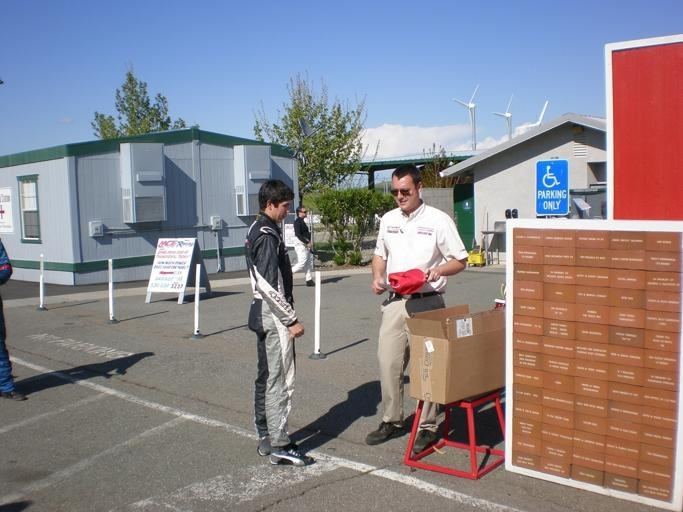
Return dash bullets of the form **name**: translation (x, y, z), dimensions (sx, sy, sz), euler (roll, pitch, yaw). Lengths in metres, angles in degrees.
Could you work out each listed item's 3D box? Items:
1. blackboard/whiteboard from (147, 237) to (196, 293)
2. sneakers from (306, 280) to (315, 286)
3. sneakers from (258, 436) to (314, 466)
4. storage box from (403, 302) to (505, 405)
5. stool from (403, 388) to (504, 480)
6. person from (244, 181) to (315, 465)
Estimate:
- **blackboard/whiteboard**: translation (-3.912, 0.222, 13.457), dimensions (1.231, 1.229, 0.466), euler (3, 7, 34)
- **sneakers**: translation (-0.938, 0.792, 17.307), dimensions (0.233, 0.186, 0.117), euler (-3, 7, 4)
- **sneakers**: translation (-0.540, 1.879, 5.716), dimensions (0.603, 0.290, 0.214), euler (3, 8, -6)
- **storage box**: translation (1.143, 0.931, 5.698), dimensions (0.978, 0.765, 0.541), euler (-6, 5, -38)
- **stool**: translation (1.154, 1.778, 5.729), dimensions (0.808, 0.823, 0.764), euler (4, 8, 41)
- **person**: translation (-0.628, 0.637, 5.618), dimensions (0.416, 2.717, 0.625), euler (-5, 7, -40)
